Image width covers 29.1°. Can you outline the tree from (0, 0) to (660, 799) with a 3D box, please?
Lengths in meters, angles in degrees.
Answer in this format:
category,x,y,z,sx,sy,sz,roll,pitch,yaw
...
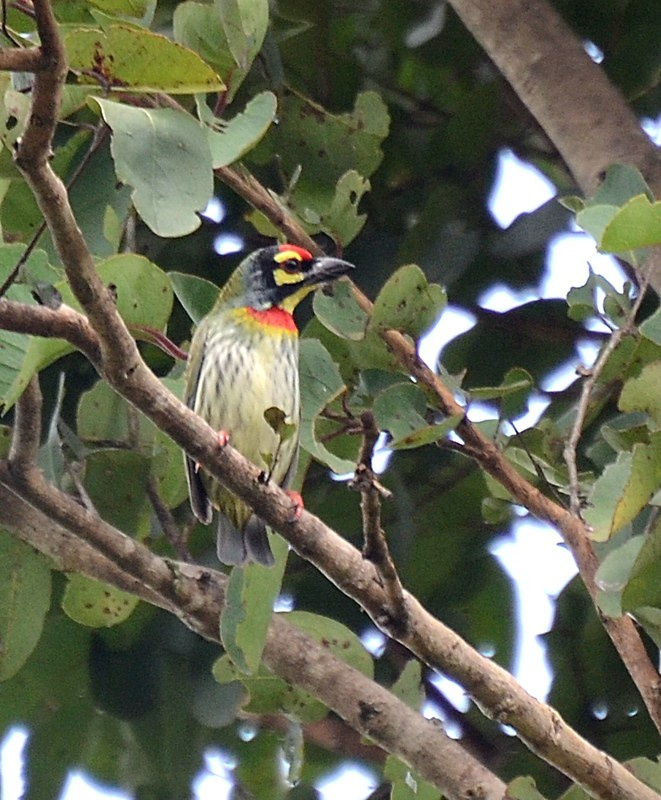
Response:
category,x,y,z,sx,sy,sz,roll,pitch,yaw
tree,0.102,-0.008,2.602,1.445,1.605,1.131,-5,16,-10
